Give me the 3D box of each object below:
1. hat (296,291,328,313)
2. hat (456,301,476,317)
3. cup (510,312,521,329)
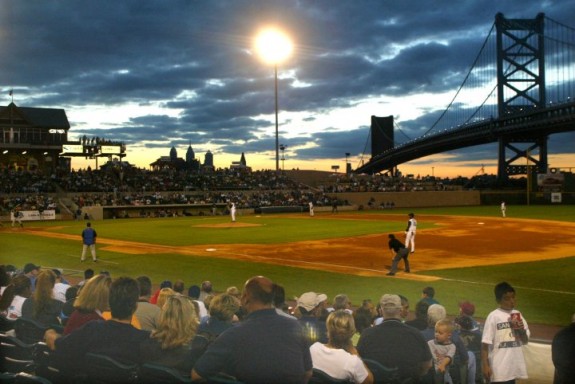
[{"bbox_3d":[0.858,3.726,22.097,0.911,0.619,0.389,0,-3,-3],"label":"hat"},{"bbox_3d":[6.307,4.023,22.763,0.581,0.413,0.711,-3,31,13],"label":"hat"},{"bbox_3d":[7.525,4.199,21.422,0.348,0.492,0.533,-3,-12,18],"label":"cup"}]
